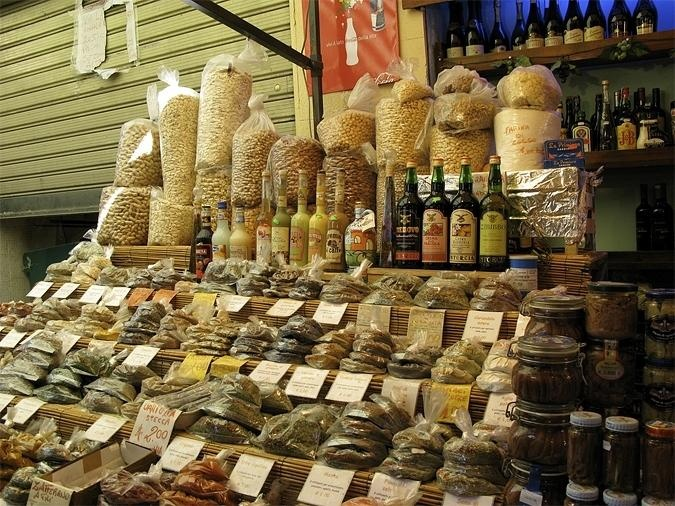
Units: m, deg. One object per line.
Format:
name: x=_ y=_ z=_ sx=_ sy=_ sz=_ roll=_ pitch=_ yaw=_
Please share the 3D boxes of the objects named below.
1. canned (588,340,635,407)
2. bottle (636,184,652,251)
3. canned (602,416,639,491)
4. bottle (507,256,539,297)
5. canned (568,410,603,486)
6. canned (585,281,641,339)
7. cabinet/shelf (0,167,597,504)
canned: x=0.780 y=0.346 z=1.407 sx=0.147 sy=0.193 sz=0.141 roll=3 pitch=-4 yaw=-1
bottle: x=2.016 y=-0.234 z=3.215 sx=0.100 sy=0.384 sz=0.302 roll=-3 pitch=-2 yaw=32
canned: x=0.685 y=0.477 z=1.160 sx=0.108 sy=0.146 sz=0.057 roll=-2 pitch=-2 yaw=-7
bottle: x=0.713 y=0.089 z=1.849 sx=0.100 sy=0.149 sz=0.101 roll=-3 pitch=4 yaw=0
canned: x=0.597 y=0.472 z=1.177 sx=0.079 sy=0.137 sz=0.051 roll=-3 pitch=-2 yaw=26
canned: x=0.759 y=0.164 z=1.424 sx=0.157 sy=0.156 sz=0.151 roll=-1 pitch=-1 yaw=-10
cabinet/shelf: x=-0.215 y=0.335 z=1.945 sx=2.135 sy=0.524 sz=0.766 roll=-3 pitch=-2 yaw=26
